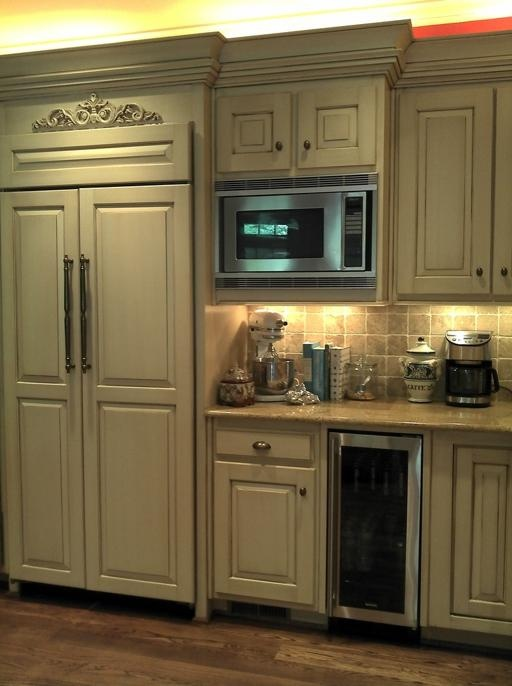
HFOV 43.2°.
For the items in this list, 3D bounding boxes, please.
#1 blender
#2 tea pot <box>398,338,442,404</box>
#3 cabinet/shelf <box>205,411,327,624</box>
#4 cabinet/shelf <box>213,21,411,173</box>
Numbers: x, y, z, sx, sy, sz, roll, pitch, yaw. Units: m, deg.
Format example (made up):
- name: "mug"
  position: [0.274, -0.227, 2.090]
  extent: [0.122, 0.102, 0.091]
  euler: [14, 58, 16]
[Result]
- name: "blender"
  position: [0.067, 0.033, 2.840]
  extent: [0.153, 0.411, 0.156]
  euler: [2, 5, 9]
- name: "tea pot"
  position: [0.700, 0.110, 2.752]
  extent: [0.170, 0.266, 0.148]
  euler: [1, 4, 32]
- name: "cabinet/shelf"
  position: [0.080, 0.660, 2.695]
  extent: [0.589, 1.000, 0.635]
  euler: [0, -2, 17]
- name: "cabinet/shelf"
  position: [0.176, -0.681, 2.447]
  extent: [0.807, 0.613, 0.441]
  euler: [1, 3, 17]
